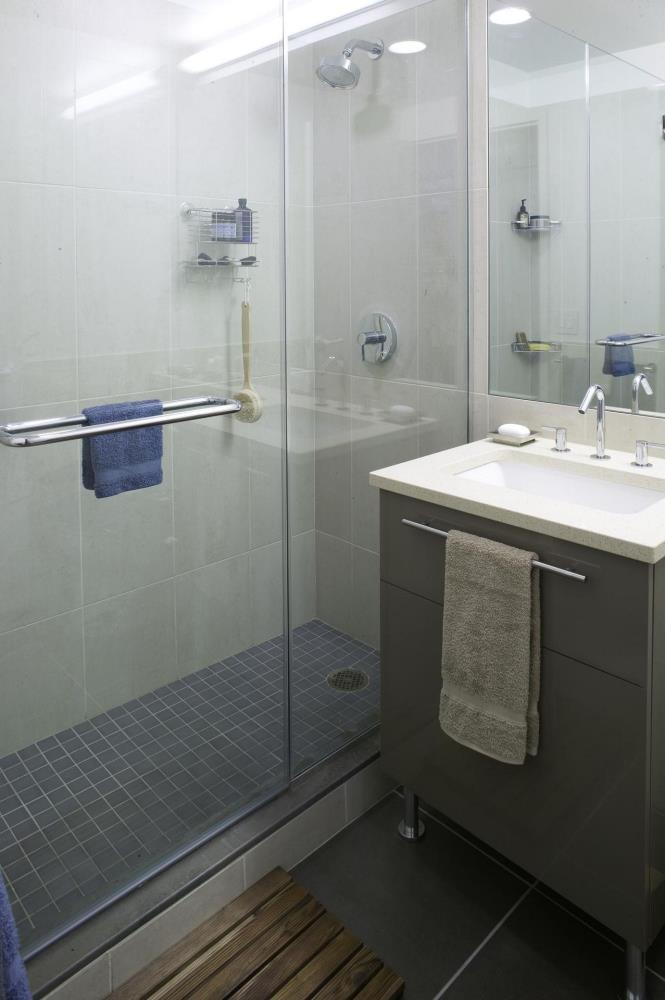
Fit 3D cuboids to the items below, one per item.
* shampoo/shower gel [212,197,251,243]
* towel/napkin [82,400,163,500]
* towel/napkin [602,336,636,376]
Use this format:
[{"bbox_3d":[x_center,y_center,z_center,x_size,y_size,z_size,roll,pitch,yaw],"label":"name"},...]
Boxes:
[{"bbox_3d":[-0.206,-0.575,1.502,0.018,0.091,0.126,5,9,34],"label":"shampoo/shower gel"},{"bbox_3d":[-0.401,-0.108,1.418,0.146,0.180,0.057,-19,37,-39],"label":"towel/napkin"},{"bbox_3d":[0.699,-0.353,1.790,0.013,0.098,0.091,-4,9,-34],"label":"towel/napkin"}]
